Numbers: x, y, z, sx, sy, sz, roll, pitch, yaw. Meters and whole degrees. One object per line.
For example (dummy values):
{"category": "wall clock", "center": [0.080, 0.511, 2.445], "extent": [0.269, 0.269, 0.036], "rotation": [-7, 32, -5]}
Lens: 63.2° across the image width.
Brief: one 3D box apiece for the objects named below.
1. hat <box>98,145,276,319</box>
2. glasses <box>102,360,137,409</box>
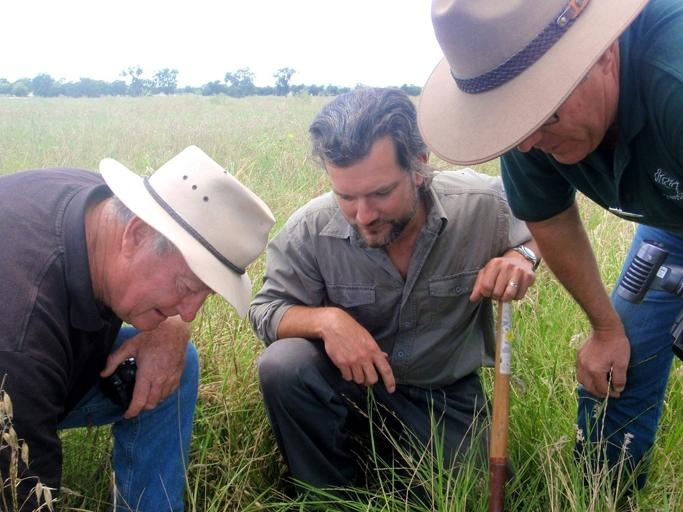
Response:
{"category": "hat", "center": [-0.639, -0.189, 2.645], "extent": [0.412, 0.792, 0.738], "rotation": [-42, 21, 6]}
{"category": "glasses", "center": [-1.150, 0.657, 2.886], "extent": [0.111, 0.169, 0.181], "rotation": [0, 48, -42]}
